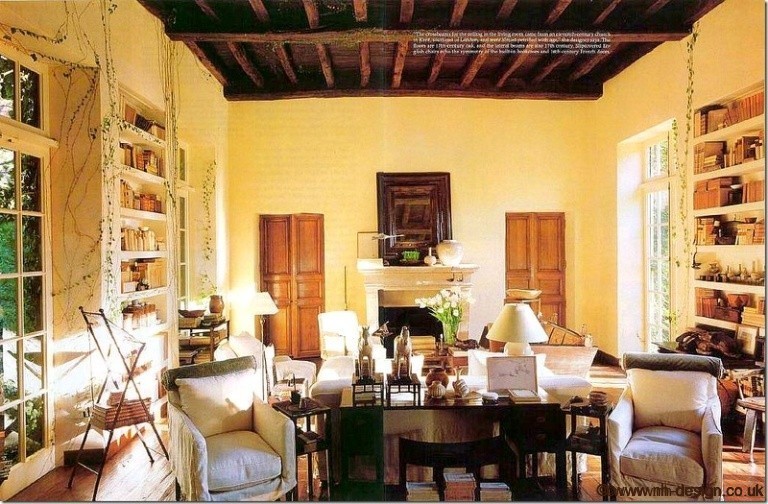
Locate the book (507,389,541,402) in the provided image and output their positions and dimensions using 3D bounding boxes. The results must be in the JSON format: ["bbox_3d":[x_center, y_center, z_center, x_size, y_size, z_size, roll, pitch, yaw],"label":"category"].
[{"bbox_3d":[1.432,1.470,5.752,0.284,0.086,0.227,0,-3,-5],"label":"book"}]

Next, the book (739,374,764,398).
[{"bbox_3d":[4.393,1.574,6.762,0.395,0.289,0.234,-3,-7,34],"label":"book"}]

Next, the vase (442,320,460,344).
[{"bbox_3d":[0.914,1.117,7.703,0.186,0.297,0.155,-1,-3,15],"label":"vase"}]

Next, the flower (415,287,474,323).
[{"bbox_3d":[0.971,0.719,7.785,0.521,0.317,0.489,-1,1,-22],"label":"flower"}]

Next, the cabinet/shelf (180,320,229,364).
[{"bbox_3d":[-2.983,1.476,8.872,0.485,0.645,0.692,26,-36,-34],"label":"cabinet/shelf"}]

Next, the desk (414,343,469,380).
[{"bbox_3d":[0.789,1.455,7.457,0.620,0.451,0.726,-1,-3,6],"label":"desk"}]

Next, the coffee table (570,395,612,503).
[{"bbox_3d":[2.118,2.004,5.788,0.419,1.123,0.384,-1,-3,21],"label":"coffee table"}]

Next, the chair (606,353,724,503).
[{"bbox_3d":[2.903,1.802,5.802,1.030,1.404,0.867,-2,-3,26],"label":"chair"}]

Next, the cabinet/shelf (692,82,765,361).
[{"bbox_3d":[4.421,-0.361,7.157,0.364,3.323,1.163,0,-3,-10],"label":"cabinet/shelf"}]

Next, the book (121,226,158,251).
[{"bbox_3d":[-3.209,-0.172,7.353,0.262,0.328,0.716,0,-3,1],"label":"book"}]

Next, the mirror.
[{"bbox_3d":[0.526,-0.563,9.831,1.625,1.917,0.149,0,0,-2],"label":"mirror"}]

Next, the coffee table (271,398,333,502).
[{"bbox_3d":[-0.848,2.033,5.765,0.431,0.932,0.984,2,-8,-13],"label":"coffee table"}]

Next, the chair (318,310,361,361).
[{"bbox_3d":[-0.718,1.284,8.870,0.703,0.888,0.810,2,-10,-15],"label":"chair"}]

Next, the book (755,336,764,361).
[{"bbox_3d":[4.485,1.151,6.709,0.039,0.303,0.087,2,-3,-41],"label":"book"}]

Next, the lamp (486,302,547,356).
[{"bbox_3d":[1.490,0.876,6.278,0.693,0.622,0.653,-2,7,-13],"label":"lamp"}]

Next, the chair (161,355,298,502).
[{"bbox_3d":[-1.639,1.839,6.136,1.187,1.287,1.494,3,-8,-32],"label":"chair"}]

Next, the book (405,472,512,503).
[{"bbox_3d":[0.730,2.345,5.574,1.015,0.254,0.209,0,-3,-2],"label":"book"}]

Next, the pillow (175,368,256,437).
[{"bbox_3d":[-1.793,1.584,5.835,0.682,0.534,0.233,-2,-32,-23],"label":"pillow"}]
